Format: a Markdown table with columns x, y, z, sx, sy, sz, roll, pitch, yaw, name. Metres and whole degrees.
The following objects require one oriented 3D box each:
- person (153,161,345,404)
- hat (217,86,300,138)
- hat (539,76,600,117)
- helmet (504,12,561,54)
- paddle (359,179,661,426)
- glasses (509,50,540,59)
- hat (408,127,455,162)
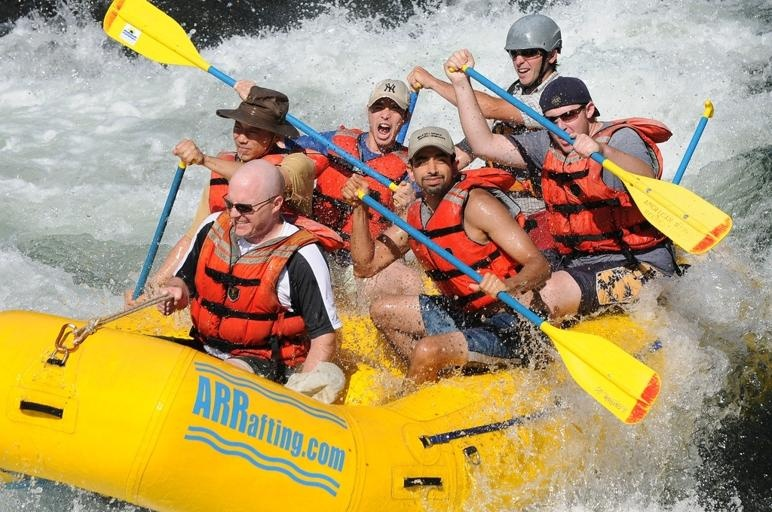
| x | y | z | sx | sy | sz | roll | pitch | yaw | name |
| --- | --- | --- | --- | --- | --- | --- | --- | --- | --- |
| -0.941 | 0.236 | 6.303 | 1.301 | 1.005 | 1.820 | 17 | 100 | 21 | person |
| -0.985 | -1.039 | 7.023 | 0.463 | 0.462 | 0.232 | 35 | 109 | 44 | hat |
| 1.374 | -1.240 | 6.865 | 0.259 | 0.345 | 0.219 | -5 | 95 | 40 | hat |
| 1.342 | -2.041 | 8.082 | 0.334 | 0.442 | 0.337 | 13 | 121 | 43 | helmet |
| 0.975 | 0.397 | 6.667 | 2.054 | 0.084 | 0.387 | 40 | 96 | 9 | paddle |
| 1.276 | -1.842 | 8.054 | 0.116 | 0.114 | 0.033 | 0 | 85 | 29 | glasses |
| 0.331 | -0.845 | 6.573 | 0.343 | 0.211 | 0.227 | -4 | 69 | 3 | hat |
